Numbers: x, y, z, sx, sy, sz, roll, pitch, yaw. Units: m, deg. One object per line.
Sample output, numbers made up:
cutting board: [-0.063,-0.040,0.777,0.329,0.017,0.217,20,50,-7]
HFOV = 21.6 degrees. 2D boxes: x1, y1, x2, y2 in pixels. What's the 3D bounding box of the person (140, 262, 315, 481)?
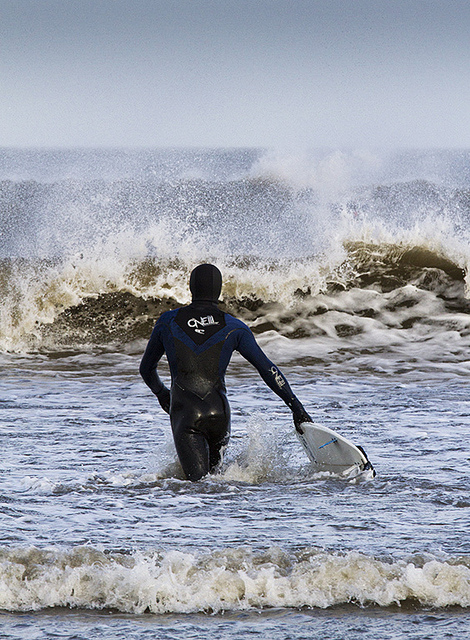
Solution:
person: [-0.119,0.327,7.912,0.813,1.344,0.705,-9,14,-31]
